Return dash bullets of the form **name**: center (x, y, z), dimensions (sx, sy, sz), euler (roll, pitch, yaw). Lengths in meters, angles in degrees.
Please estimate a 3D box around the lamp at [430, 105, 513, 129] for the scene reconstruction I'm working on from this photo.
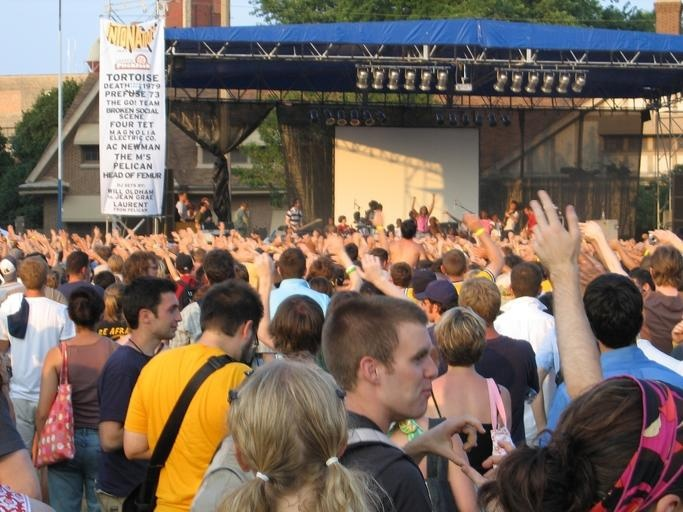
- **lamp**: center (3.737, -4.044, 33.810), dimensions (2.240, 0.519, 0.692), euler (1, 9, -15)

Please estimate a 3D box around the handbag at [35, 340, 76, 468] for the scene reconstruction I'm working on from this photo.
- **handbag**: center (-3.927, 2.119, 15.950), dimensions (0.397, 2.288, 1.243), euler (5, -7, -26)

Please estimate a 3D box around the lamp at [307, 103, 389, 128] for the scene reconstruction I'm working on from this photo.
- **lamp**: center (0.214, -3.971, 32.792), dimensions (2.493, 0.529, 0.842), euler (6, -2, -33)

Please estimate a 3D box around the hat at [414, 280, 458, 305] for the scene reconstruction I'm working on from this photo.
- **hat**: center (1.405, 0.520, 16.296), dimensions (0.367, 0.268, 0.299), euler (0, 5, 18)

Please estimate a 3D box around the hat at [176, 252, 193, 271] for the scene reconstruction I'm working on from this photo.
- **hat**: center (-2.528, 0.066, 18.541), dimensions (0.172, 0.290, 0.283), euler (-2, 43, -10)
